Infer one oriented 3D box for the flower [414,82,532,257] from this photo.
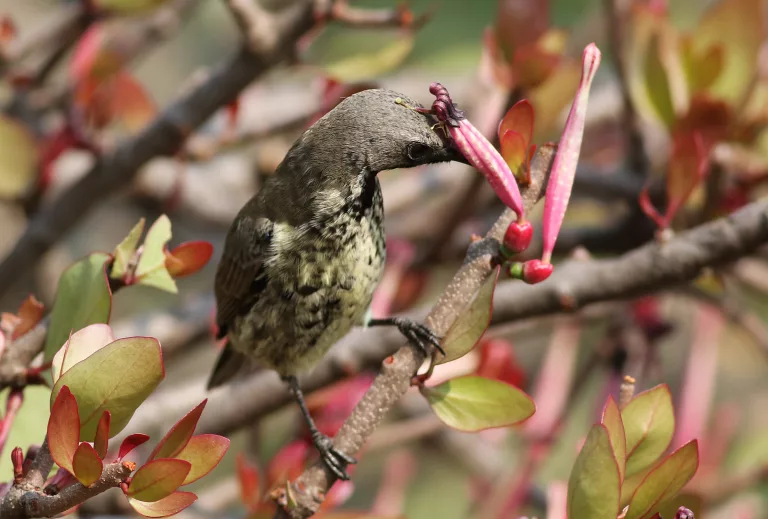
[{"bbox_3d":[0.346,-0.336,3.192,0.192,0.270,0.662,-35,70,14],"label":"flower"}]
